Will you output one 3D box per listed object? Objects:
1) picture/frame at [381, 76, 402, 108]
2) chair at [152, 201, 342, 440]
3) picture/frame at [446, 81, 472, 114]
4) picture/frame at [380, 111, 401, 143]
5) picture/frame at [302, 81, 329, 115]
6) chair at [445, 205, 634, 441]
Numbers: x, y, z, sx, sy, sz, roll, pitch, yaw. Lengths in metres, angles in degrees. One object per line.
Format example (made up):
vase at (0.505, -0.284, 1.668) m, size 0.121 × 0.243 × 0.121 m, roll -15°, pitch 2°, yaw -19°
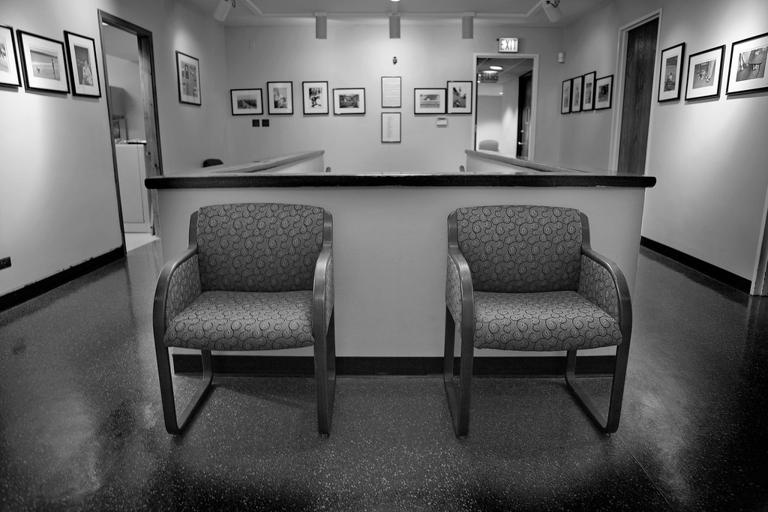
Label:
picture/frame at (0.129, -2.915, 9.075) m, size 0.455 × 0.666 × 0.046 m, roll 0°, pitch 9°, yaw -3°
chair at (-0.850, 0.412, 3.387) m, size 0.986 × 1.335 × 1.014 m, roll 1°, pitch 10°, yaw 0°
picture/frame at (1.327, -2.827, 9.098) m, size 0.473 × 0.586 × 0.037 m, roll 0°, pitch 8°, yaw -4°
picture/frame at (0.112, -2.328, 9.173) m, size 0.454 × 0.681 × 0.029 m, roll 0°, pitch 9°, yaw -5°
picture/frame at (-1.197, -2.819, 9.079) m, size 0.495 × 0.642 × 0.045 m, roll 0°, pitch 8°, yaw -2°
chair at (0.945, 0.402, 3.431) m, size 0.991 × 1.343 × 1.043 m, roll 0°, pitch 9°, yaw 0°
